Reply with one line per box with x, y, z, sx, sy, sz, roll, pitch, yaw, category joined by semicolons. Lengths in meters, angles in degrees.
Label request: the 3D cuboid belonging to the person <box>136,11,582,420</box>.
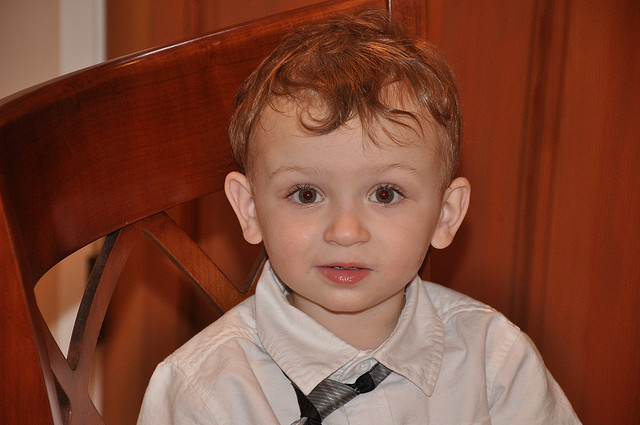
0.124;-0.006;1.311;0.858;0.920;0.474;0;-4;-5;person

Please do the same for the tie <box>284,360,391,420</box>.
0.036;0.329;1.181;0.141;0.107;0.046;-17;-36;-13;tie
